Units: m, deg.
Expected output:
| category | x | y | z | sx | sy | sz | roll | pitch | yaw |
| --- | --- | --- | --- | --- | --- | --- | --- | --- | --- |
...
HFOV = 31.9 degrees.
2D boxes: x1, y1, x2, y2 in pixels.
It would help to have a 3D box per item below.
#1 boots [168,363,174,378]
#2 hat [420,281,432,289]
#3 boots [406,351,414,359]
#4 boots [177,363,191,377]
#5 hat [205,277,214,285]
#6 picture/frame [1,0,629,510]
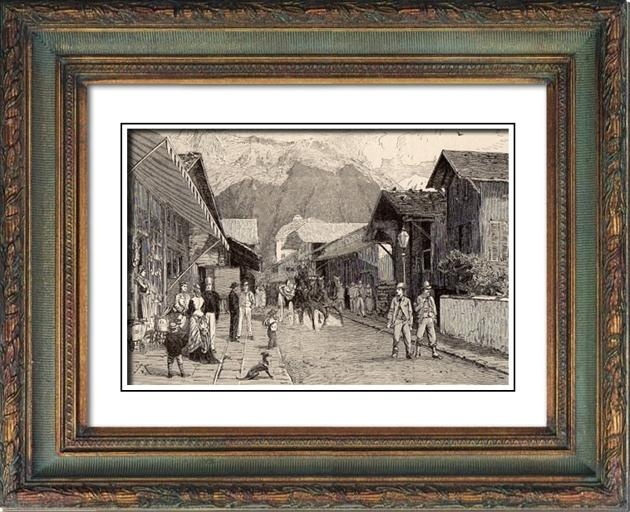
| category | x | y | z | sx | sy | sz | roll | pitch | yaw |
| --- | --- | --- | --- | --- | --- | --- | --- | --- | --- |
| boots | -0.885 | 0.707 | 6.757 | 0.032 | 0.097 | 0.068 | 1 | -27 | -5 |
| hat | 0.788 | 0.215 | 7.804 | 0.048 | 0.031 | 0.053 | -4 | -7 | -15 |
| boots | 0.607 | 0.643 | 7.079 | 0.032 | 0.031 | 0.064 | -1 | -7 | -4 |
| boots | -0.803 | 0.710 | 6.758 | 0.083 | 0.094 | 0.043 | -1 | 4 | -16 |
| hat | -0.739 | 0.184 | 7.707 | 0.043 | 0.091 | 0.049 | -9 | -13 | 17 |
| picture/frame | -0.025 | -0.003 | 6.595 | 2.472 | 2.182 | 0.124 | 1 | 0 | -2 |
